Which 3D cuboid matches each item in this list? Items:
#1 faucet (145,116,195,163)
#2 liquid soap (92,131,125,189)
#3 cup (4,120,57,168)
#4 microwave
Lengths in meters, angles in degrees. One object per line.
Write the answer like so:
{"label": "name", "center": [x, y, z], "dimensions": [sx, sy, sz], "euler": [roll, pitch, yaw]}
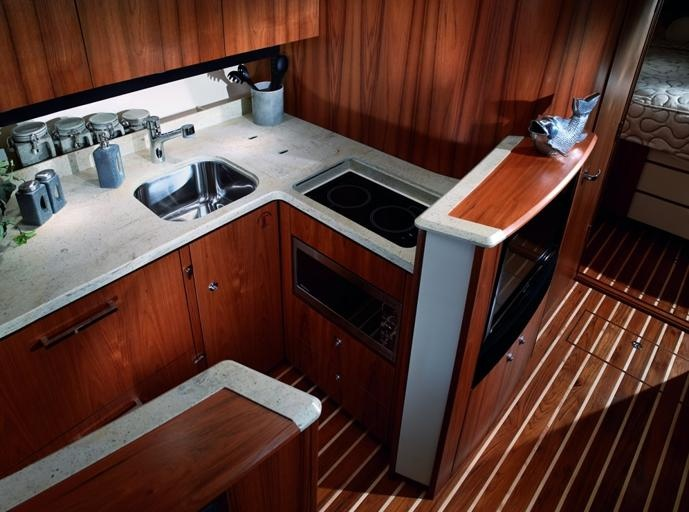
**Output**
{"label": "faucet", "center": [-0.842, -0.581, 2.284], "dimensions": [0.209, 0.212, 0.123], "euler": [-13, 35, -25]}
{"label": "liquid soap", "center": [-1.030, -0.409, 2.128], "dimensions": [0.125, 0.250, 0.127], "euler": [26, 36, 32]}
{"label": "cup", "center": [-1.349, -0.476, 2.037], "dimensions": [0.174, 0.147, 0.197], "euler": [-28, 54, -31]}
{"label": "microwave", "center": [0.073, 0.139, 2.167], "dimensions": [0.603, 0.354, 0.318], "euler": [27, 28, 26]}
